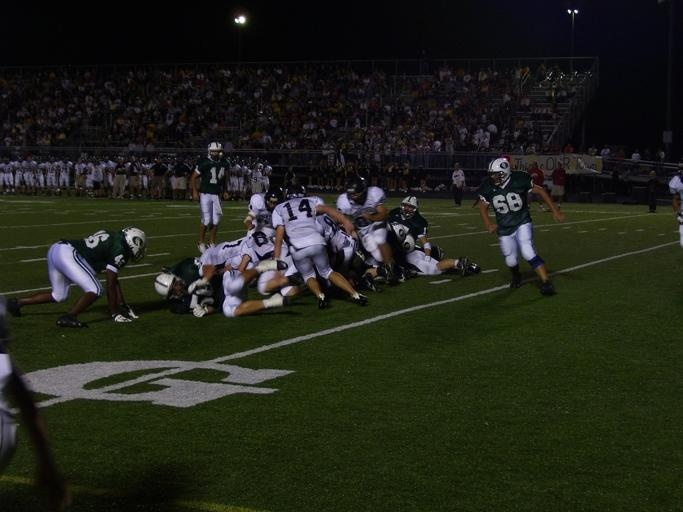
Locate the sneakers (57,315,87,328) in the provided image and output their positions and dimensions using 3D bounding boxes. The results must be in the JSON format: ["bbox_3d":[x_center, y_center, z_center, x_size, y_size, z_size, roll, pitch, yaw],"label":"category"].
[{"bbox_3d":[-3.176,0.775,8.229,0.393,0.158,0.138,2,1,-6],"label":"sneakers"}]

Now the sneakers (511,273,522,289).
[{"bbox_3d":[2.655,0.407,10.908,0.145,0.242,0.251,3,-1,25],"label":"sneakers"}]

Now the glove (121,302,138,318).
[{"bbox_3d":[-2.691,0.692,8.821,0.216,0.071,0.089,36,-25,19],"label":"glove"}]

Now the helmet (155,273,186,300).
[{"bbox_3d":[-2.114,0.367,8.587,0.261,0.341,0.399,3,8,25],"label":"helmet"}]

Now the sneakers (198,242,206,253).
[{"bbox_3d":[-2.930,-0.160,14.527,0.098,0.117,0.282,23,13,-36],"label":"sneakers"}]

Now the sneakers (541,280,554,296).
[{"bbox_3d":[2.999,0.472,10.193,0.196,0.237,0.272,2,8,17],"label":"sneakers"}]

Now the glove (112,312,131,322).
[{"bbox_3d":[-2.705,0.739,8.439,0.302,0.124,0.098,1,-13,-6],"label":"glove"}]

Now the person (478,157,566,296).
[{"bbox_3d":[2.696,-0.486,10.823,1.195,2.007,1.585,2,8,14],"label":"person"}]

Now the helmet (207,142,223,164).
[{"bbox_3d":[-2.813,-2.274,15.352,0.294,0.410,0.627,-2,8,-13],"label":"helmet"}]
